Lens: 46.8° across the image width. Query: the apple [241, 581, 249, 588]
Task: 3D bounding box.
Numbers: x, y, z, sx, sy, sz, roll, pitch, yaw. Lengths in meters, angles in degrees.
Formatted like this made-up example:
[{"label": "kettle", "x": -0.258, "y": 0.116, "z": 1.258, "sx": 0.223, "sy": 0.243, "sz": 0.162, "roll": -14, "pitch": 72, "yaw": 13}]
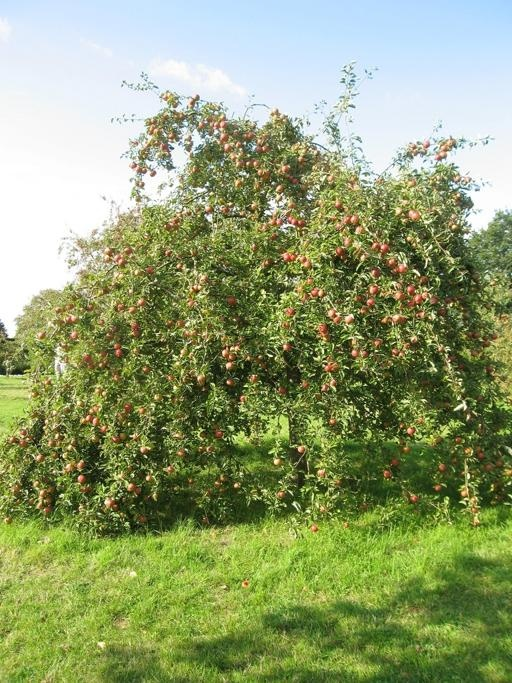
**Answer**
[{"label": "apple", "x": -0.089, "y": 2.006, "z": 4.889, "sx": 0.047, "sy": 0.057, "sz": 0.029, "roll": 25, "pitch": -34, "yaw": 13}]
